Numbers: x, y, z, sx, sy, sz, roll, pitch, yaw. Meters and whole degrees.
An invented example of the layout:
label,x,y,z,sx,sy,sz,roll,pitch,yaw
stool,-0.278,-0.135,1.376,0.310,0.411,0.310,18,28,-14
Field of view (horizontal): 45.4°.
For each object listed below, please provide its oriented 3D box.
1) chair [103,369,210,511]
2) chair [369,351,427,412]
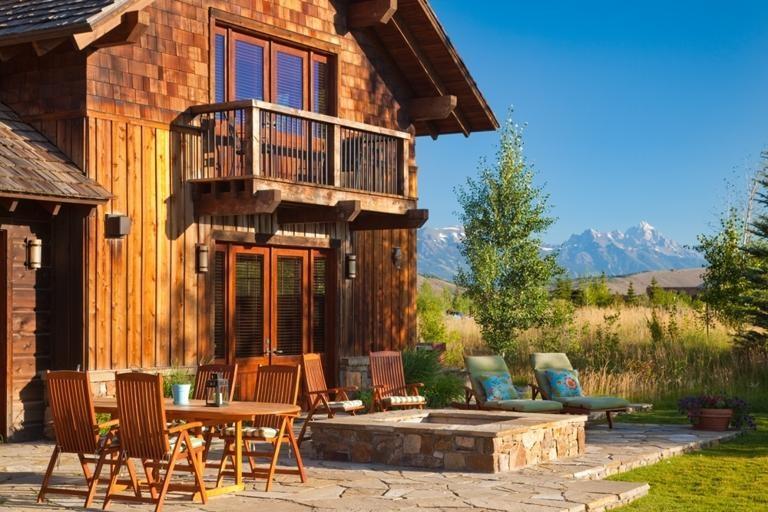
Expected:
label,x,y,z,sx,sy,sz,roll,pitch,yaw
chair,-3.107,2.546,12.511,1.342,1.810,1.560,1,-14,-13
chair,0.133,2.421,17.828,0.972,1.753,1.225,2,-7,-27
